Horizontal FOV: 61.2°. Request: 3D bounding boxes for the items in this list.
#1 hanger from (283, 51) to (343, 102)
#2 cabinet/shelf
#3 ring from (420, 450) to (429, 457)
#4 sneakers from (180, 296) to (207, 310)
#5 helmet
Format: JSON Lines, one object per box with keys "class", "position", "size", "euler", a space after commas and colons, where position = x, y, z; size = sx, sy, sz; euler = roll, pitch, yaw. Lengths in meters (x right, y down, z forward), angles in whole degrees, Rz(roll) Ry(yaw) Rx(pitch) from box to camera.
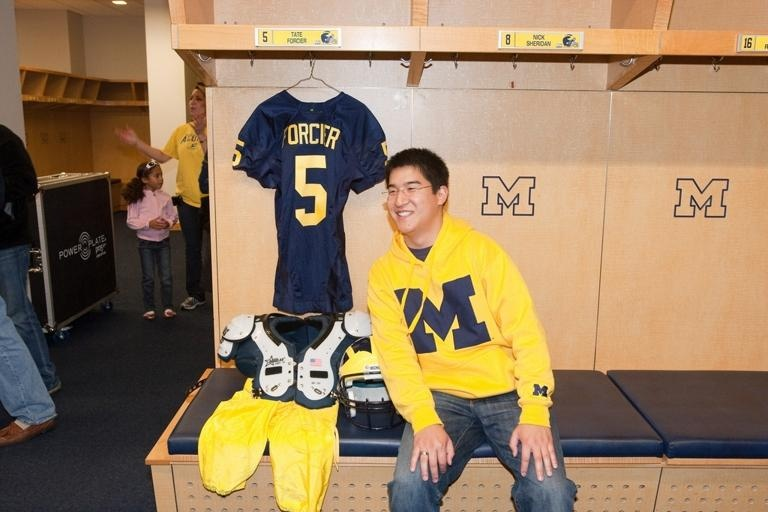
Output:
{"class": "hanger", "position": [-0.432, -1.097, 3.939], "size": [0.290, 0.186, 0.006], "euler": [1, 12, 4]}
{"class": "cabinet/shelf", "position": [-4.540, -2.459, 9.641], "size": [0.253, 0.355, 2.192], "euler": [15, 14, 22]}
{"class": "ring", "position": [0.192, 0.930, 3.045], "size": [0.033, 0.033, 0.022], "euler": [12, -1, 15]}
{"class": "sneakers", "position": [-1.842, 0.472, 6.283], "size": [0.098, 0.103, 0.248], "euler": [1, -3, 28]}
{"class": "helmet", "position": [-0.045, 0.682, 3.602], "size": [0.429, 0.408, 0.530], "euler": [-5, 5, -19]}
